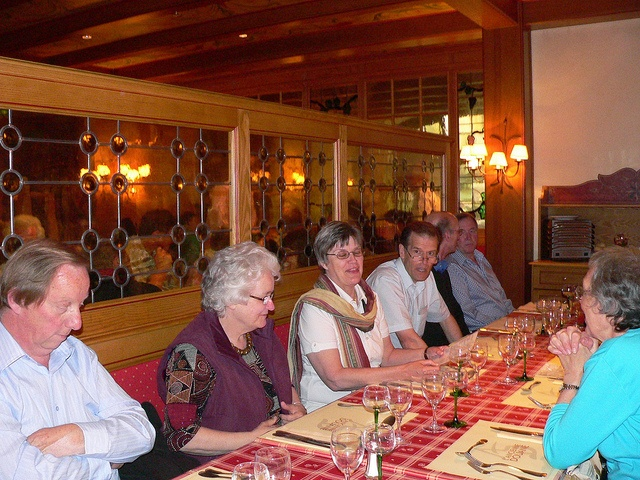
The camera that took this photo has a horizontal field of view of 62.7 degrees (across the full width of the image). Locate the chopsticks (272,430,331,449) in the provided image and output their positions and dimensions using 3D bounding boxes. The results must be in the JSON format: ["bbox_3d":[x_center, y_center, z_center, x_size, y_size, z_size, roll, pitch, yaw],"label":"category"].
[{"bbox_3d":[-0.068,0.750,1.971,0.188,0.018,0.029,11,52,9],"label":"chopsticks"}]

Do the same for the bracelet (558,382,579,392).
[{"bbox_3d":[0.978,0.574,2.053,0.040,0.026,0.043,-1,-1,22],"label":"bracelet"}]

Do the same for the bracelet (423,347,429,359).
[{"bbox_3d":[0.599,0.643,2.960,0.017,0.054,0.037,3,-1,-1],"label":"bracelet"}]

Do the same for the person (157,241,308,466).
[{"bbox_3d":[-0.381,0.561,2.474,0.752,1.070,0.580,-6,10,-41],"label":"person"}]

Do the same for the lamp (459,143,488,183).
[{"bbox_3d":[1.986,-1.012,6.839,0.272,0.451,0.419,-14,-5,13],"label":"lamp"}]

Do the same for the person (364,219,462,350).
[{"bbox_3d":[0.676,0.324,3.589,0.545,0.844,0.701,-4,10,-19],"label":"person"}]

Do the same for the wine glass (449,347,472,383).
[{"bbox_3d":[0.674,0.594,2.535,0.115,0.196,0.115,4,-6,-18],"label":"wine glass"}]

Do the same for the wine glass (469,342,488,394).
[{"bbox_3d":[0.777,0.613,2.566,0.117,0.271,0.127,4,11,16],"label":"wine glass"}]

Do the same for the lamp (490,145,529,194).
[{"bbox_3d":[2.341,-0.986,6.576,0.282,0.326,0.210,-6,19,40],"label":"lamp"}]

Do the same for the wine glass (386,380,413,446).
[{"bbox_3d":[0.319,0.653,2.085,0.091,0.193,0.411,0,5,11],"label":"wine glass"}]

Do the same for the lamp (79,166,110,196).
[{"bbox_3d":[-1.239,-0.337,2.894,0.031,0.163,0.175,1,6,29],"label":"lamp"}]
